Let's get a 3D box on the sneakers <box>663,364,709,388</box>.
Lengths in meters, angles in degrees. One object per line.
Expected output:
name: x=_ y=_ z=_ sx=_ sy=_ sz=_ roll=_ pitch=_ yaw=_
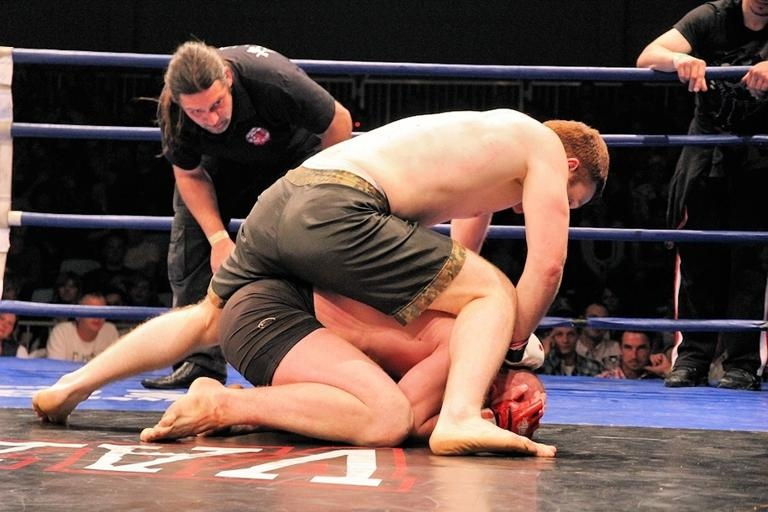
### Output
sneakers: x=1.379 y=0.560 z=3.889 sx=0.229 sy=0.068 sz=0.085 roll=4 pitch=-6 yaw=-18

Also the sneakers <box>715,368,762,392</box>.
sneakers: x=1.581 y=0.565 z=3.850 sx=0.217 sy=0.065 sz=0.081 roll=-2 pitch=-8 yaw=7

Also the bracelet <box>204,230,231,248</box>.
bracelet: x=-0.697 y=-0.061 z=3.497 sx=0.080 sy=0.041 sz=0.076 roll=-18 pitch=4 yaw=28

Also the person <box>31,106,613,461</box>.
person: x=-0.224 y=0.018 z=3.004 sx=1.871 sy=0.815 sz=1.087 roll=1 pitch=0 yaw=-17

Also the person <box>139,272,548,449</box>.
person: x=-0.105 y=0.319 z=2.696 sx=1.152 sy=0.314 sz=0.572 roll=-1 pitch=-1 yaw=0
